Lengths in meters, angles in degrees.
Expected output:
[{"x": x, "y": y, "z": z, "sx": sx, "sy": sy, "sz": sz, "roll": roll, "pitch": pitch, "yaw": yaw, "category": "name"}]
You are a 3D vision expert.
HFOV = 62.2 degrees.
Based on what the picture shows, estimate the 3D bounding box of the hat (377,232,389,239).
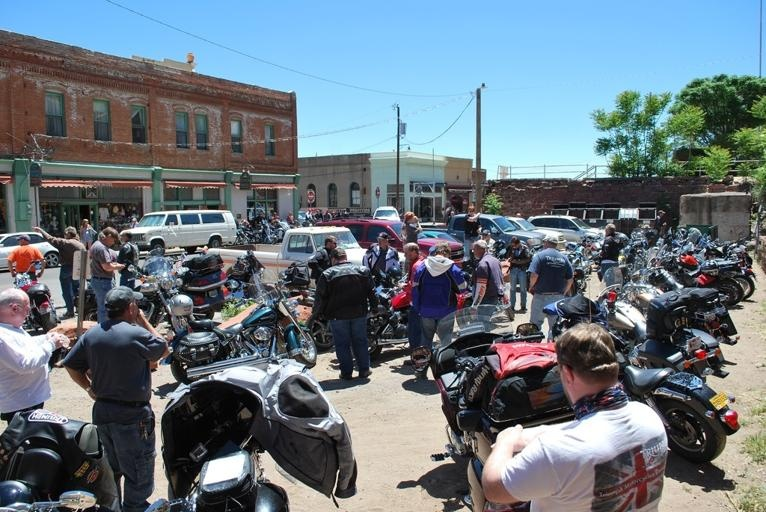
[{"x": 0.020, "y": -0.425, "z": 13.348, "sx": 0.189, "sy": 0.102, "sz": 0.278, "roll": 1, "pitch": 0, "yaw": 17, "category": "hat"}]

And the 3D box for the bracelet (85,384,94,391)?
[{"x": -3.297, "y": 1.493, "z": 7.152, "sx": 0.071, "sy": 0.043, "sz": 0.102, "roll": 1, "pitch": 0, "yaw": -4, "category": "bracelet"}]

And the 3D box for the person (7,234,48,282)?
[{"x": -7.803, "y": 0.073, "z": 13.976, "sx": 0.627, "sy": 1.026, "sz": 0.656, "roll": -3, "pitch": 5, "yaw": -34, "category": "person"}]

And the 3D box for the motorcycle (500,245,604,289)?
[{"x": 4.051, "y": 0.059, "z": 16.005, "sx": 2.440, "sy": 1.477, "sz": 1.423, "roll": 3, "pitch": -3, "yaw": -18, "category": "motorcycle"}]

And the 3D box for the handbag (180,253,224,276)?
[{"x": -3.445, "y": 0.167, "z": 11.847, "sx": 0.539, "sy": 0.203, "sz": 0.386, "roll": -6, "pitch": 0, "yaw": 35, "category": "handbag"}]

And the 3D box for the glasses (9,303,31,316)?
[{"x": -4.099, "y": 0.607, "z": 7.165, "sx": 0.149, "sy": 0.079, "sz": 0.119, "roll": 3, "pitch": 4, "yaw": 37, "category": "glasses"}]

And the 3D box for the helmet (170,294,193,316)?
[{"x": -3.354, "y": 0.822, "z": 10.679, "sx": 0.295, "sy": 0.351, "sz": 0.392, "roll": -5, "pitch": -5, "yaw": -38, "category": "helmet"}]
